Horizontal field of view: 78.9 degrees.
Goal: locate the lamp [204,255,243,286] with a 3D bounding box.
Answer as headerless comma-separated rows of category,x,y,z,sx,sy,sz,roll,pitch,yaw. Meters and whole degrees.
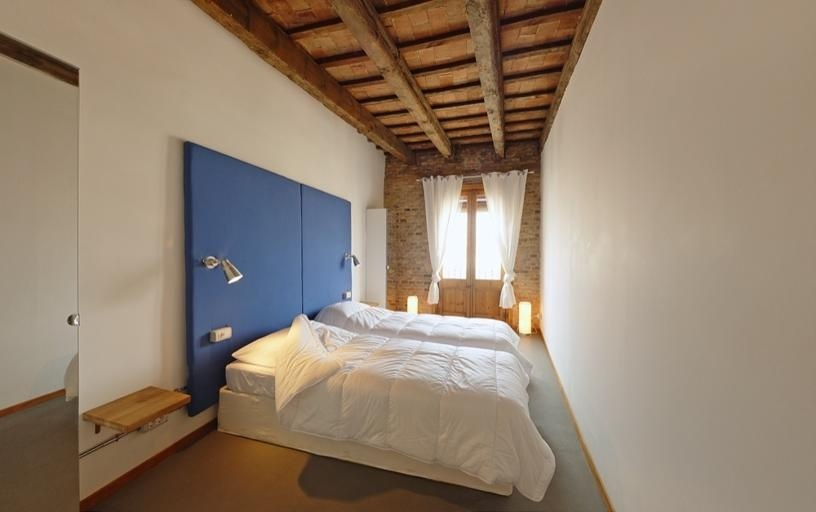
lamp,-1.448,0.120,4.076,0.245,0.230,0.411,-1,-2,19

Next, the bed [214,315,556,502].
bed,-0.117,1.171,3.934,1.962,0.672,1.327,2,3,16

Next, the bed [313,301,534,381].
bed,0.088,0.722,5.066,1.555,0.384,0.947,2,0,13

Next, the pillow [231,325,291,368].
pillow,-1.194,0.776,4.210,0.216,0.085,0.350,18,16,14

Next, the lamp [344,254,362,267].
lamp,-0.687,0.052,6.107,0.118,0.174,0.245,-18,-1,-34
